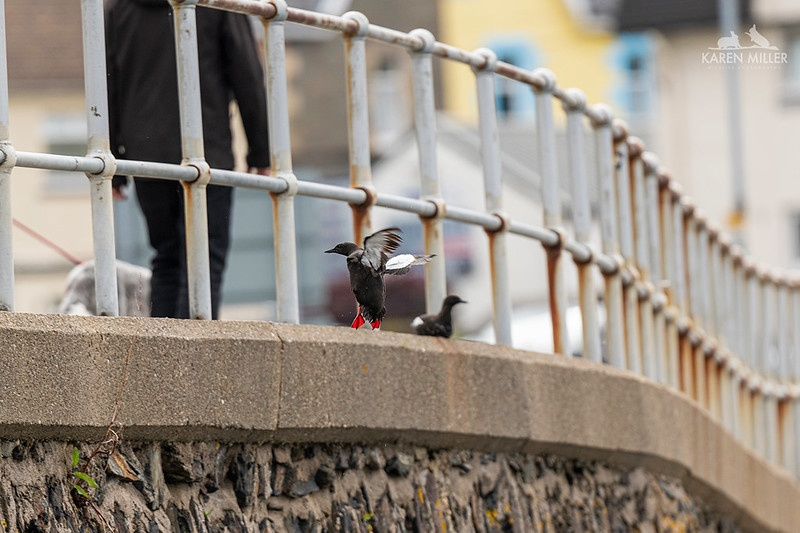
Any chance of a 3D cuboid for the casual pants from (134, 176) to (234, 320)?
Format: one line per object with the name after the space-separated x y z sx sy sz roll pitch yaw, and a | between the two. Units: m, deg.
-3.326 -0.208 43.098 1.411 2.153 1.041 -3 -25 5 | casual pants
